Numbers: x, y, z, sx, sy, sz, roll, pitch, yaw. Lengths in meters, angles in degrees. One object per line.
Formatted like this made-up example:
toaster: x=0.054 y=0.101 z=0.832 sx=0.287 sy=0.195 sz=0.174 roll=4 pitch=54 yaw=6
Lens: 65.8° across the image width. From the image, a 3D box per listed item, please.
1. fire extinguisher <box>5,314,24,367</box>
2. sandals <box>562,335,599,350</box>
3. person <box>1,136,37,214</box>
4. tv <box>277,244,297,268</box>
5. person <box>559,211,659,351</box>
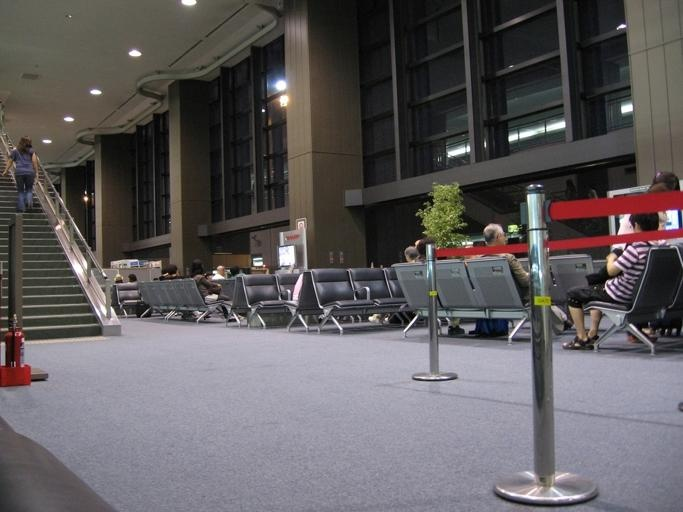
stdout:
fire extinguisher: x=-2.639 y=0.671 z=4.249 sx=0.127 sy=0.423 sz=0.407 roll=0 pitch=-3 yaw=-33
sandals: x=2.511 y=0.902 z=5.539 sx=0.359 sy=0.142 sz=0.139 roll=0 pitch=-6 yaw=2
person: x=-7.043 y=-1.815 z=11.659 sx=0.514 sy=1.629 sz=1.244 roll=0 pitch=-2 yaw=-31
tv: x=-1.443 y=-0.031 z=14.259 sx=0.070 sy=0.540 sz=0.643 roll=0 pitch=-3 yaw=-38
person: x=2.665 y=0.411 z=5.235 sx=0.349 sy=1.059 sz=0.891 roll=0 pitch=-2 yaw=-28
